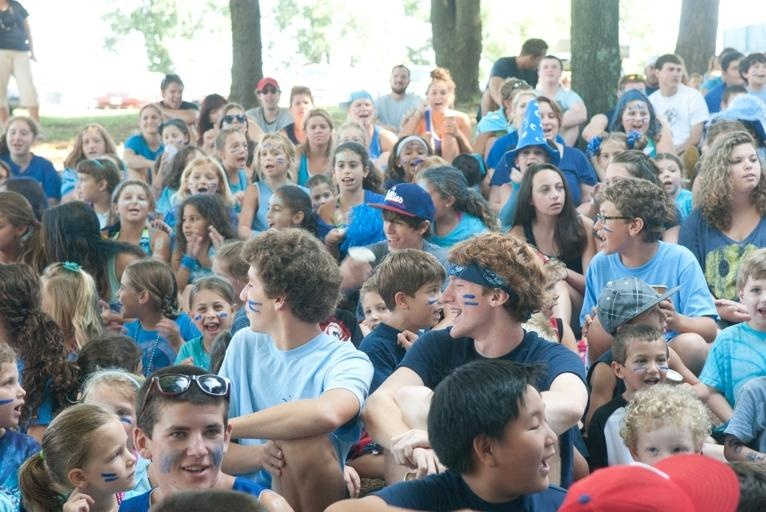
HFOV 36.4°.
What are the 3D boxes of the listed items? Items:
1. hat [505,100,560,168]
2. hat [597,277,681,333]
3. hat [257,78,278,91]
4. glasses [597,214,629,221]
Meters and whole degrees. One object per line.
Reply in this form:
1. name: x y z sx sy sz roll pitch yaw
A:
1. hat: 1.971 -1.634 15.180 0.672 0.867 0.571 -6 8 -37
2. hat: 2.633 0.490 12.232 0.734 0.352 0.483 -29 1 16
3. hat: -1.967 -2.898 19.454 0.339 0.223 0.316 -1 5 -4
4. glasses: 2.535 -0.442 13.009 0.119 0.077 0.391 -6 7 -39
